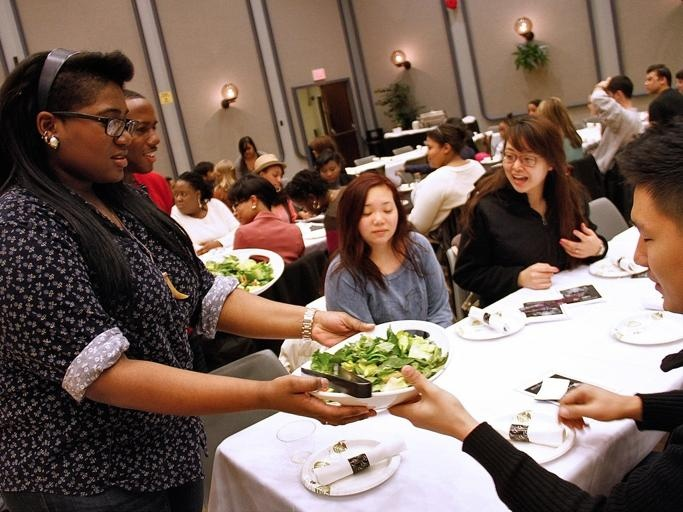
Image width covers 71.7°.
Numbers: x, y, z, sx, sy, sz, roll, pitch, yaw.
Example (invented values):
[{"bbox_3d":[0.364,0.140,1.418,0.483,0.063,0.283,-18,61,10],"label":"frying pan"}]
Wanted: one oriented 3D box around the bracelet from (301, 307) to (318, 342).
[{"bbox_3d":[-0.107,0.223,1.548,0.052,0.092,0.091,5,34,7],"label":"bracelet"}]
